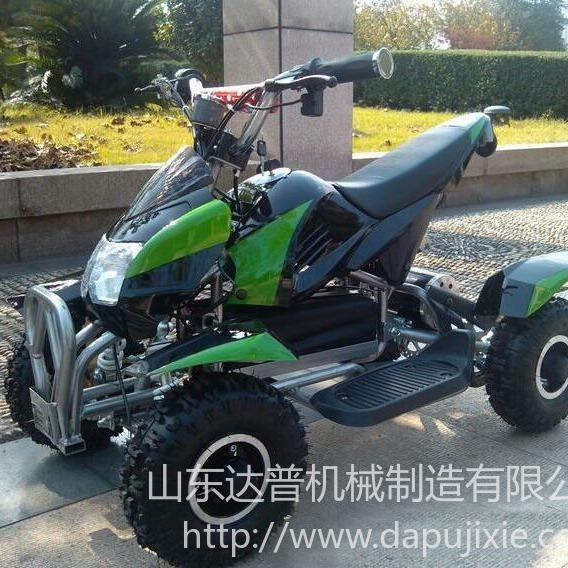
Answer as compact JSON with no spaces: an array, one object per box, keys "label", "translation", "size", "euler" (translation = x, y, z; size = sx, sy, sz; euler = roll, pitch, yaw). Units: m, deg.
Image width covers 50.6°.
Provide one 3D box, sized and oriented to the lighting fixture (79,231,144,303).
[{"label":"lighting fixture","translation":[-0.586,-0.039,1.992],"size":[0.199,0.073,0.236],"euler":[27,85,42]}]
